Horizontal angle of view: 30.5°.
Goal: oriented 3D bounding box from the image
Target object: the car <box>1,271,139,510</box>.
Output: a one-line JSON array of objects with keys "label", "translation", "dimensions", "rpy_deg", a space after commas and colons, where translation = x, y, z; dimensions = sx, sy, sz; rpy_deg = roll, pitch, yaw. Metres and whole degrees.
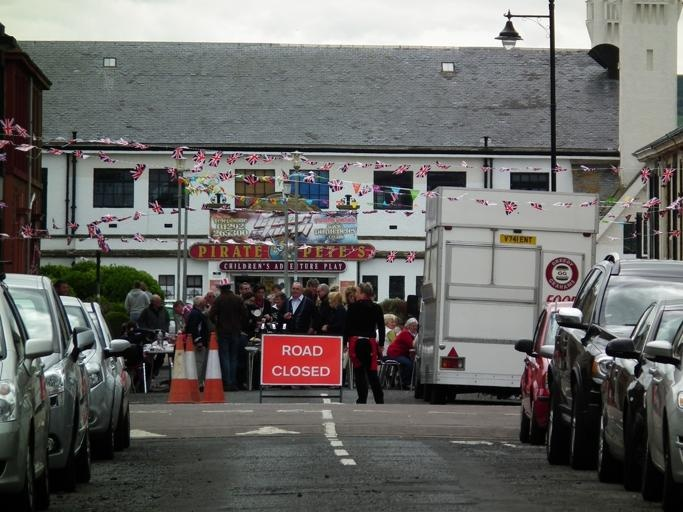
[{"label": "car", "translation": [-2.812, 1.258, 12.157], "dimensions": [0.807, 2.115, 2.923], "rpy_deg": [0, 1, -11]}]

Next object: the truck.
[{"label": "truck", "translation": [3.033, 0.452, 24.421], "dimensions": [3.150, 4.152, 5.894], "rpy_deg": [1, -3, 0]}]

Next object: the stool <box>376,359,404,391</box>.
[{"label": "stool", "translation": [1.105, 2.781, 29.075], "dimensions": [0.674, 1.079, 0.593], "rpy_deg": [0, -2, 8]}]
